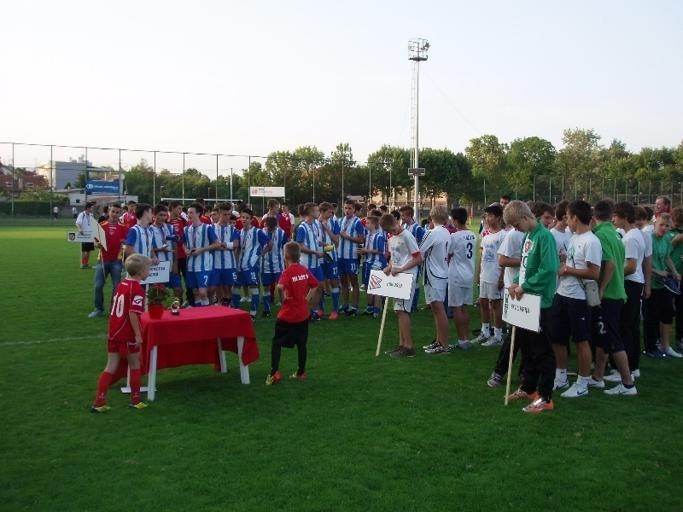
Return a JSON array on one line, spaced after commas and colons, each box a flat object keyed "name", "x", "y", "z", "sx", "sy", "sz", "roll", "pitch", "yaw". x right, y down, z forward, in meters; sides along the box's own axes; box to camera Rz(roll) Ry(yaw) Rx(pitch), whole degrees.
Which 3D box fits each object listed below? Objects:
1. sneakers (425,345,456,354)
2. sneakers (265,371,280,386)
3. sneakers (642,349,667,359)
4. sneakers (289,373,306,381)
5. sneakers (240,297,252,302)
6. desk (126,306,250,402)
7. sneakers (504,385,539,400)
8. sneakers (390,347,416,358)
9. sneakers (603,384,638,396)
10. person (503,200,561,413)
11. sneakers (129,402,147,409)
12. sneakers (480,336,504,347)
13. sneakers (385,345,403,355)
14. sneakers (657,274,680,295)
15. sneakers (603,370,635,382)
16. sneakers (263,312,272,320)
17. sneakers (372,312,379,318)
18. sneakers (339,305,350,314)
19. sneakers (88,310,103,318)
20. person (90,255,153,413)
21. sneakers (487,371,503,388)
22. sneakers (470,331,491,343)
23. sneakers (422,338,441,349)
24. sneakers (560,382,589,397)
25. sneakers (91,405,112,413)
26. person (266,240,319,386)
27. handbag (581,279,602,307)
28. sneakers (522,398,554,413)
[{"name": "sneakers", "x": 1.514, "y": 1.433, "z": 9.544, "sx": 0.423, "sy": 0.206, "sz": 0.165, "roll": 1, "pitch": -6, "yaw": 3}, {"name": "sneakers", "x": -0.932, "y": 1.626, "z": 8.201, "sx": 0.177, "sy": 0.180, "sz": 0.132, "roll": -30, "pitch": 18, "yaw": -32}, {"name": "sneakers", "x": 4.732, "y": 1.464, "z": 9.337, "sx": 0.290, "sy": 0.144, "sz": 0.117, "roll": -3, "pitch": -3, "yaw": 19}, {"name": "sneakers", "x": -0.595, "y": 1.594, "z": 8.313, "sx": 0.226, "sy": 0.111, "sz": 0.091, "roll": 2, "pitch": -2, "yaw": 26}, {"name": "sneakers", "x": -2.169, "y": 0.960, "z": 13.881, "sx": 0.253, "sy": 0.124, "sz": 0.092, "roll": 2, "pitch": 0, "yaw": 1}, {"name": "desk", "x": -1.917, "y": 1.217, "z": 8.070, "sx": 1.442, "sy": 1.012, "sz": 1.058, "roll": -2, "pitch": 2, "yaw": -30}, {"name": "sneakers", "x": 2.222, "y": 1.673, "z": 7.690, "sx": 0.414, "sy": 0.190, "sz": 0.160, "roll": 2, "pitch": -7, "yaw": 7}, {"name": "sneakers", "x": 0.927, "y": 1.439, "z": 9.323, "sx": 0.375, "sy": 0.161, "sz": 0.153, "roll": 1, "pitch": -3, "yaw": 1}, {"name": "sneakers", "x": 3.529, "y": 1.685, "z": 7.857, "sx": 0.430, "sy": 0.198, "sz": 0.165, "roll": 1, "pitch": -2, "yaw": 18}, {"name": "person", "x": 2.336, "y": 0.567, "z": 7.483, "sx": 0.566, "sy": 2.438, "sz": 0.704, "roll": -3, "pitch": 9, "yaw": -20}, {"name": "sneakers", "x": -2.430, "y": 1.765, "z": 7.381, "sx": 0.125, "sy": 0.059, "sz": 0.082, "roll": -5, "pitch": 6, "yaw": -16}, {"name": "sneakers", "x": 2.448, "y": 1.368, "z": 10.038, "sx": 0.398, "sy": 0.181, "sz": 0.149, "roll": -1, "pitch": -4, "yaw": 3}, {"name": "sneakers", "x": 0.791, "y": 1.426, "z": 9.411, "sx": 0.292, "sy": 0.137, "sz": 0.108, "roll": 2, "pitch": -3, "yaw": -25}, {"name": "sneakers", "x": 4.899, "y": 0.400, "z": 9.246, "sx": 0.171, "sy": 0.219, "sz": 0.492, "roll": -6, "pitch": 9, "yaw": -1}, {"name": "sneakers", "x": 3.743, "y": 1.622, "z": 8.357, "sx": 0.411, "sy": 0.204, "sz": 0.165, "roll": -3, "pitch": -5, "yaw": 27}, {"name": "sneakers", "x": -1.460, "y": 1.136, "z": 12.041, "sx": 0.077, "sy": 0.108, "sz": 0.222, "roll": 1, "pitch": -9, "yaw": 2}, {"name": "sneakers", "x": 0.656, "y": 1.131, "z": 12.060, "sx": 0.073, "sy": 0.110, "sz": 0.232, "roll": -2, "pitch": -6, "yaw": 9}, {"name": "sneakers", "x": 0.047, "y": 1.058, "z": 12.508, "sx": 0.259, "sy": 0.204, "sz": 0.095, "roll": 4, "pitch": 2, "yaw": 22}, {"name": "sneakers", "x": -4.760, "y": 1.098, "z": 11.878, "sx": 0.287, "sy": 0.135, "sz": 0.117, "roll": 4, "pitch": -6, "yaw": -17}, {"name": "person", "x": -2.602, "y": 0.892, "z": 7.303, "sx": 0.618, "sy": 1.812, "sz": 0.421, "roll": -1, "pitch": 9, "yaw": -7}, {"name": "sneakers", "x": 2.024, "y": 1.608, "z": 8.144, "sx": 0.207, "sy": 0.158, "sz": 0.223, "roll": 2, "pitch": 10, "yaw": 9}, {"name": "sneakers", "x": 2.348, "y": 1.351, "z": 10.373, "sx": 0.359, "sy": 0.160, "sz": 0.124, "roll": -4, "pitch": -2, "yaw": -19}, {"name": "sneakers", "x": 1.418, "y": 1.372, "z": 9.665, "sx": 0.305, "sy": 0.155, "sz": 0.102, "roll": -1, "pitch": -4, "yaw": -26}, {"name": "sneakers", "x": 2.942, "y": 1.669, "z": 7.815, "sx": 0.396, "sy": 0.176, "sz": 0.150, "roll": -2, "pitch": -8, "yaw": -20}, {"name": "sneakers", "x": -2.830, "y": 1.774, "z": 7.238, "sx": 0.142, "sy": 0.070, "sz": 0.083, "roll": 10, "pitch": -9, "yaw": -41}, {"name": "person", "x": -0.687, "y": 0.738, "z": 8.186, "sx": 0.773, "sy": 1.822, "sz": 0.464, "roll": -8, "pitch": 12, "yaw": -42}, {"name": "handbag", "x": 2.983, "y": 0.428, "z": 7.433, "sx": 0.143, "sy": 0.378, "sz": 0.260, "roll": -8, "pitch": 2, "yaw": 42}, {"name": "sneakers", "x": 2.337, "y": 1.752, "z": 7.364, "sx": 0.388, "sy": 0.179, "sz": 0.153, "roll": -1, "pitch": -8, "yaw": -8}]
